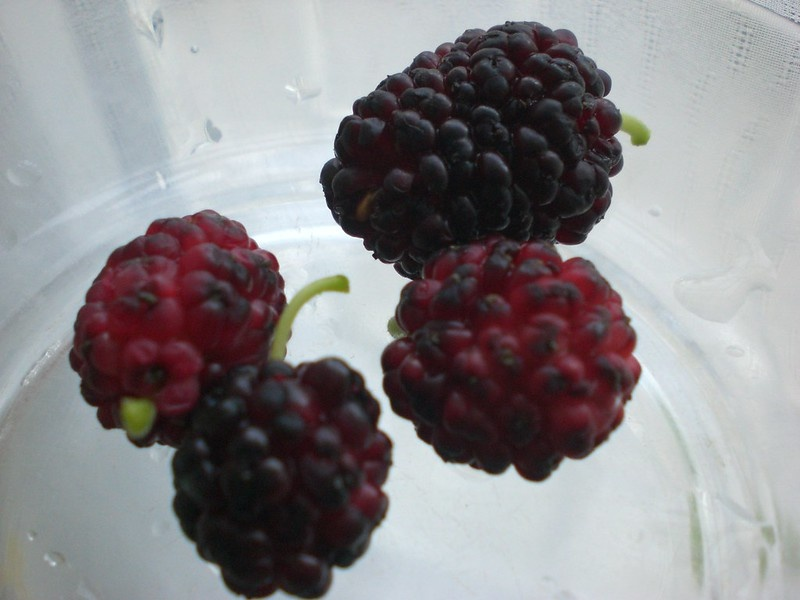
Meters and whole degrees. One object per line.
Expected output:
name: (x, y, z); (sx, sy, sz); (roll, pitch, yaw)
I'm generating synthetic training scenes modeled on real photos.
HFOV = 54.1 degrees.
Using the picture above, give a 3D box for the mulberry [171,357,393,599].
mulberry: (-0.163, 0.261, 1.174); (0.281, 0.278, 0.307); (30, 52, 24)
